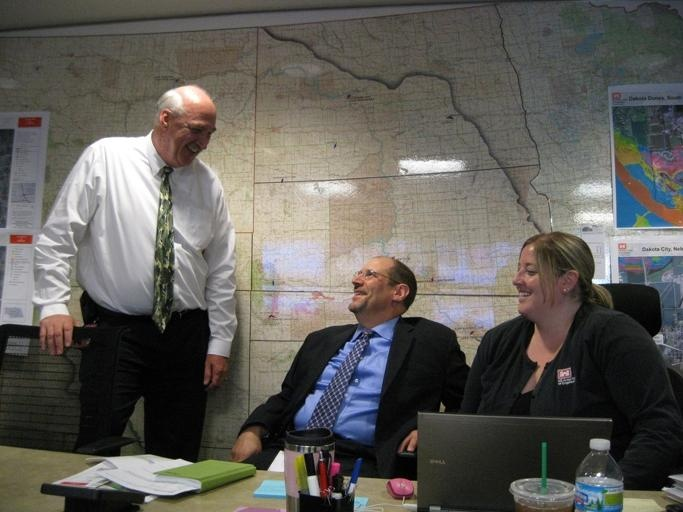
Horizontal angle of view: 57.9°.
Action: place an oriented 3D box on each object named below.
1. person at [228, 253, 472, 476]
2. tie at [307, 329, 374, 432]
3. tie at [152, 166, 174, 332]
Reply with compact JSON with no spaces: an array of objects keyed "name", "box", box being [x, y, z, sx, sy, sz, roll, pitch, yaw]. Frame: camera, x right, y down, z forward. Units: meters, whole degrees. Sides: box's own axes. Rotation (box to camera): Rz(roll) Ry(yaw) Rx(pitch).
[{"name":"person","box":[-0.036,0.674,3.299,0.841,1.265,1.001,-1,-28,33]},{"name":"tie","box":[0.023,0.588,2.865,0.137,0.580,0.060,14,-32,28]},{"name":"tie","box":[-0.862,-0.044,3.005,0.095,0.800,0.121,3,-3,-15]}]
